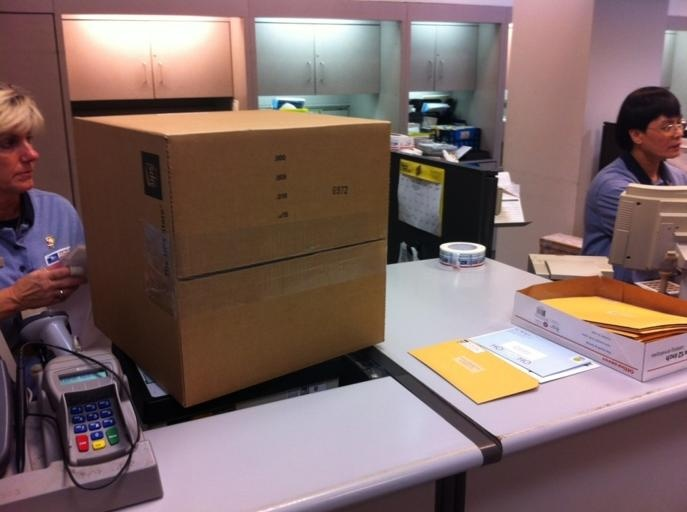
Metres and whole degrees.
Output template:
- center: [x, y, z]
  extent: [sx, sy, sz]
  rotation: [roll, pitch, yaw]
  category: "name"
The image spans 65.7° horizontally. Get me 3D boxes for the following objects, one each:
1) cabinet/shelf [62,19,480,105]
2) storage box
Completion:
- center: [-0.905, -1.543, 4.164]
  extent: [2.264, 0.611, 0.401]
  rotation: [-8, 19, -16]
  category: "cabinet/shelf"
- center: [-0.246, -0.036, 1.240]
  extent: [0.738, 0.575, 0.414]
  rotation: [-7, 19, -14]
  category: "storage box"
